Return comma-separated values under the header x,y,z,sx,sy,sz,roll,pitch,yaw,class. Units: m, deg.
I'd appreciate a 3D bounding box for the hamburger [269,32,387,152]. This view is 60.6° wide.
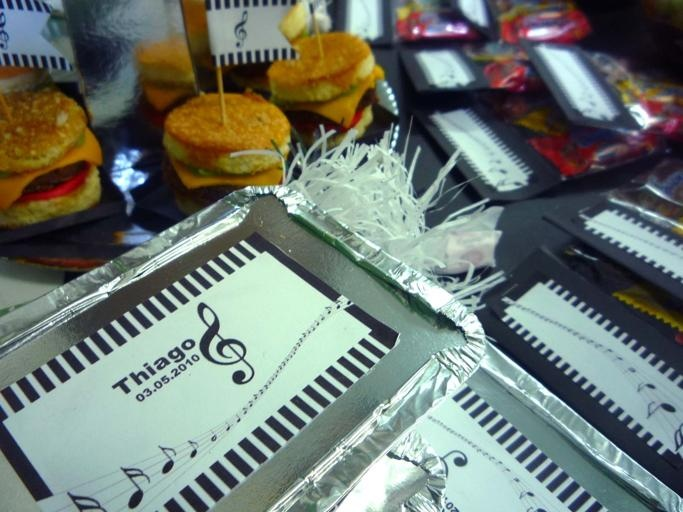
x,y,z,sx,sy,sz,roll,pitch,yaw,class
-0.043,-0.520,1.639,0.266,0.151,0.282,24,54,6,hamburger

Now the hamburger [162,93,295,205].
x,y,z,sx,sy,sz,roll,pitch,yaw,class
-0.284,-0.298,1.456,0.308,0.188,0.278,-8,57,-16,hamburger
